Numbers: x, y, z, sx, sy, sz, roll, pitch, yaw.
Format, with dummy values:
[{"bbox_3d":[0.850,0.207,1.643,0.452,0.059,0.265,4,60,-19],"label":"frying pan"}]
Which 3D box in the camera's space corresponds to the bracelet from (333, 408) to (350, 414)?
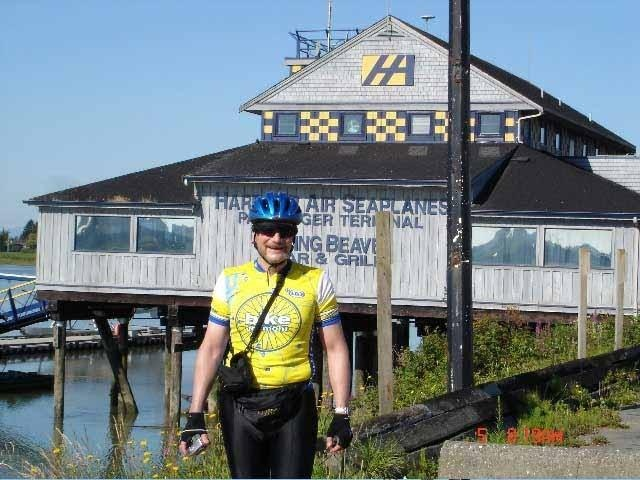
[{"bbox_3d":[0.393,3.224,26.318,0.153,0.090,0.130,4,-2,-20],"label":"bracelet"}]
